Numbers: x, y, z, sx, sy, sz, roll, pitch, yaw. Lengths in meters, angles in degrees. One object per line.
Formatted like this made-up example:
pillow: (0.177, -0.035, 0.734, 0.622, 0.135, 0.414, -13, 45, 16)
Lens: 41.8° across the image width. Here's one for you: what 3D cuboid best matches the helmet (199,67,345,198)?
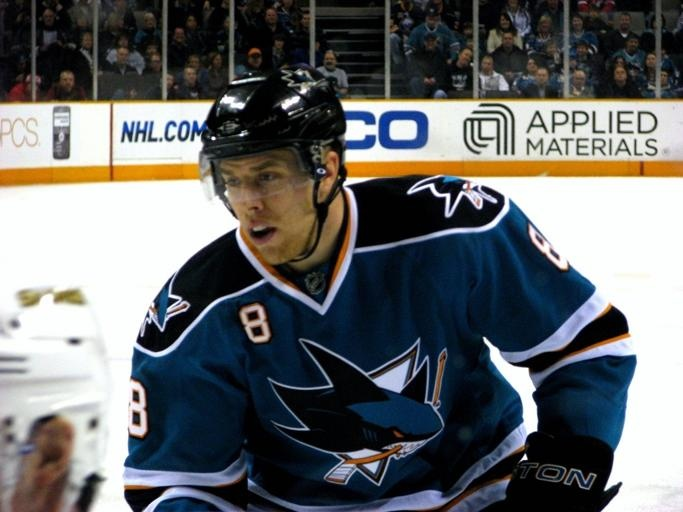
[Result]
helmet: (-0.187, -0.319, 2.481, 0.285, 0.355, 0.370, -17, -3, 35)
